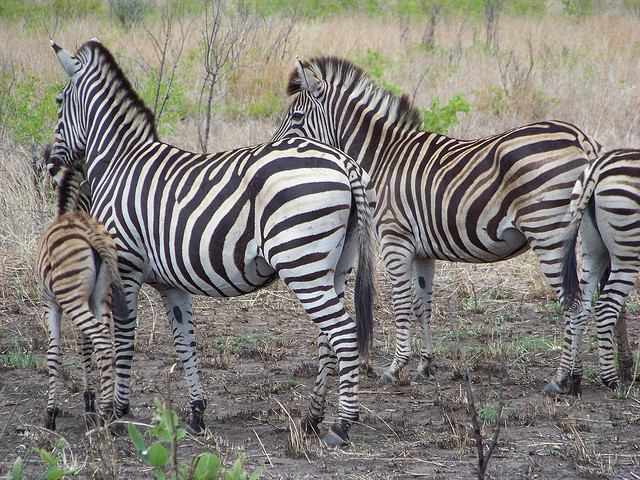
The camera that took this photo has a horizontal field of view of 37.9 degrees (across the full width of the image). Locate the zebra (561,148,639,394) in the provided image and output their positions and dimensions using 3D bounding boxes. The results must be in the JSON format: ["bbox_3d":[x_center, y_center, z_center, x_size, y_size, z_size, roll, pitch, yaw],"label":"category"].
[{"bbox_3d":[2.850,0.326,9.486,0.767,2.485,0.585,-1,-3,14],"label":"zebra"}]

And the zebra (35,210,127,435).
[{"bbox_3d":[-2.351,0.796,9.069,0.813,2.139,0.425,-2,-3,16],"label":"zebra"}]

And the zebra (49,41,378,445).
[{"bbox_3d":[-1.121,0.198,9.730,4.214,4.180,1.379,3,7,22],"label":"zebra"}]
